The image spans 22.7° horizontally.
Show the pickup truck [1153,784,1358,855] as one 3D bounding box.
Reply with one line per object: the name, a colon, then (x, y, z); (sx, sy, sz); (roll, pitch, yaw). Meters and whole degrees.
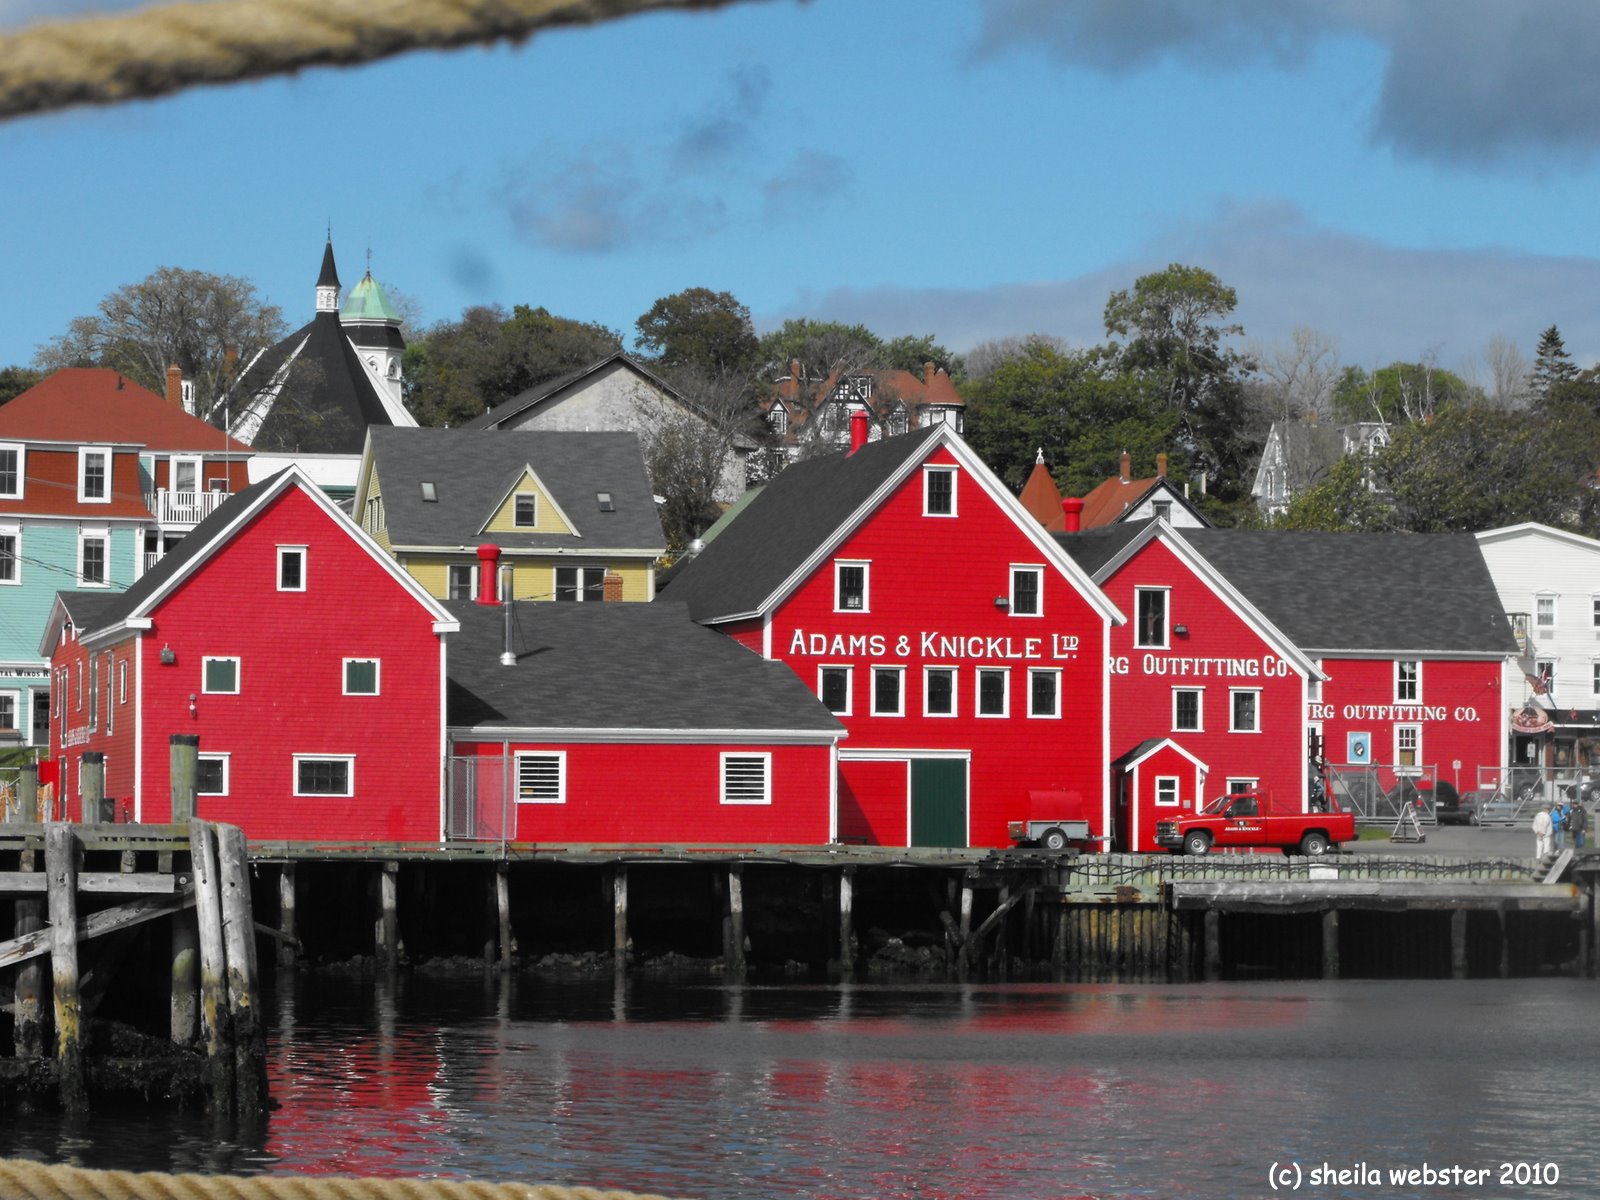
pickup truck: (11.707, 5.643, 103.263); (4.486, 1.521, 1.989); (1, -4, -1)
